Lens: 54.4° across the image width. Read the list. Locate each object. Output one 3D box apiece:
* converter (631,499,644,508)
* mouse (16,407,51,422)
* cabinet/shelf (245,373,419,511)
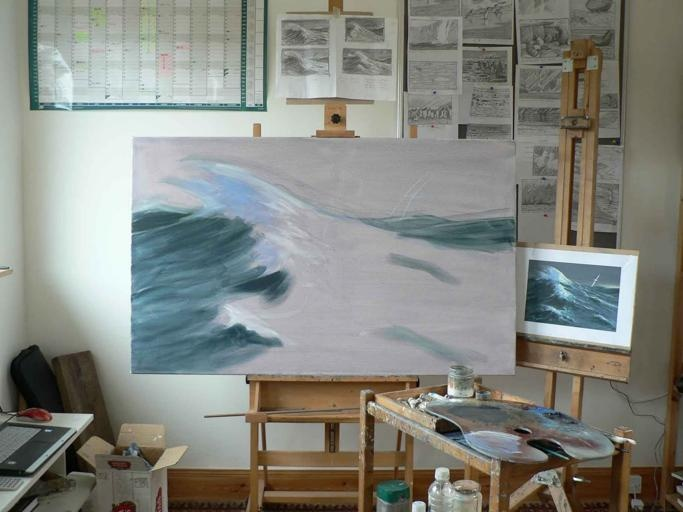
[{"bbox_3d":[1.707,1.414,3.802,0.046,0.020,0.056,1,-5,2],"label":"converter"},{"bbox_3d":[-1.511,0.766,3.244,0.134,0.043,0.072,10,0,-7],"label":"mouse"},{"bbox_3d":[-0.082,0.892,3.570,1.023,0.765,0.787,0,-7,-1],"label":"cabinet/shelf"}]
